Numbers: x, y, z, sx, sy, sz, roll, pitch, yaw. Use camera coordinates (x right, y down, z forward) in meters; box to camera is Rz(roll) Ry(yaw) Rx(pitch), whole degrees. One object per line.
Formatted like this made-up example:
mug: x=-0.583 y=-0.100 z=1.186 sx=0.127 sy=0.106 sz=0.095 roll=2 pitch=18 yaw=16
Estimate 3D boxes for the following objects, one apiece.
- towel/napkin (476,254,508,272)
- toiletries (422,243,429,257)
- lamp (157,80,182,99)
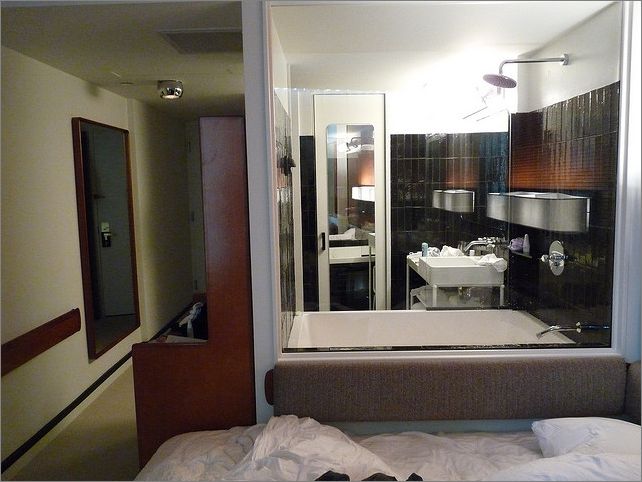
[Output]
towel/napkin: x=0.950 y=0.111 z=2.849 sx=0.113 sy=0.048 sz=0.112 roll=-4 pitch=10 yaw=-29
toiletries: x=0.580 y=0.045 z=2.872 sx=0.040 sy=0.077 sz=0.009 roll=-2 pitch=7 yaw=-8
lamp: x=-1.250 y=-1.241 z=4.224 sx=0.182 sy=0.131 sz=0.238 roll=-4 pitch=7 yaw=-26
